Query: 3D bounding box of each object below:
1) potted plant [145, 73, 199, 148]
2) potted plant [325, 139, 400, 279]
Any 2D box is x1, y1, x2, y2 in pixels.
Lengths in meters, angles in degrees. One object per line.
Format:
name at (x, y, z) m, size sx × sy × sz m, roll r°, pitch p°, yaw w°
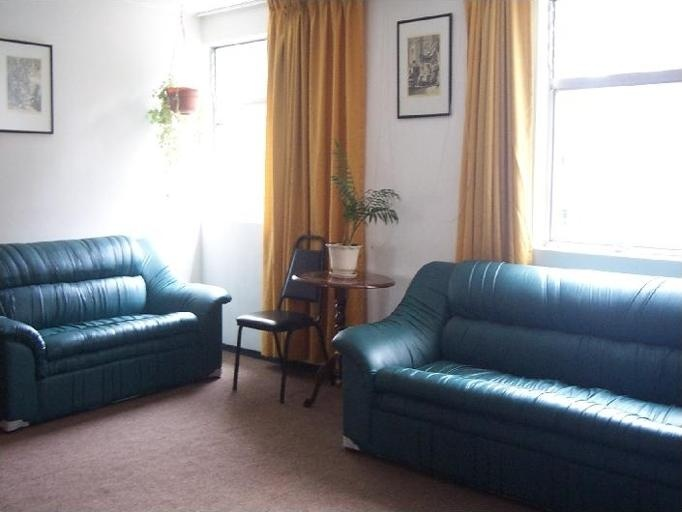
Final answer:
potted plant at (-1.522, -1.332, 4.986) m, size 0.412 × 0.677 × 0.448 m, roll -3°, pitch 11°, yaw -20°
potted plant at (0.187, -0.370, 4.219) m, size 0.537 × 1.008 × 0.626 m, roll 0°, pitch 10°, yaw 0°
